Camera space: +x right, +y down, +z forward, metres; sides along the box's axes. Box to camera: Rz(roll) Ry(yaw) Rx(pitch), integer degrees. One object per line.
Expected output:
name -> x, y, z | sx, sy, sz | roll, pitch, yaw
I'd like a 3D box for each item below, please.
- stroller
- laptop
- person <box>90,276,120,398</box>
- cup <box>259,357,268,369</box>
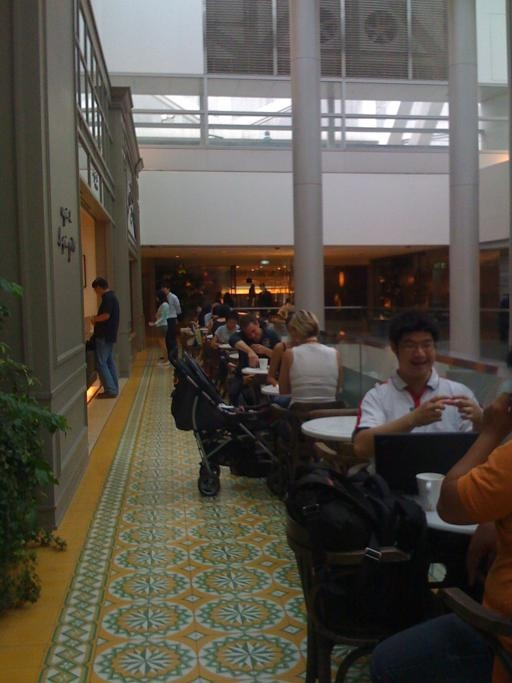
stroller -> -0.229, 0.694, 4.758 | 1.179, 1.404, 0.769 | -1, 4, -7
laptop -> 0.579, 0.406, 1.799 | 0.317, 0.250, 0.226 | 0, 2, 2
person -> -2.533, -0.041, 8.461 | 0.457, 2.025, 0.832 | 0, 0, -18
cup -> 0.099, 0.257, 5.948 | 0.099, 0.112, 0.104 | 0, 3, 0
